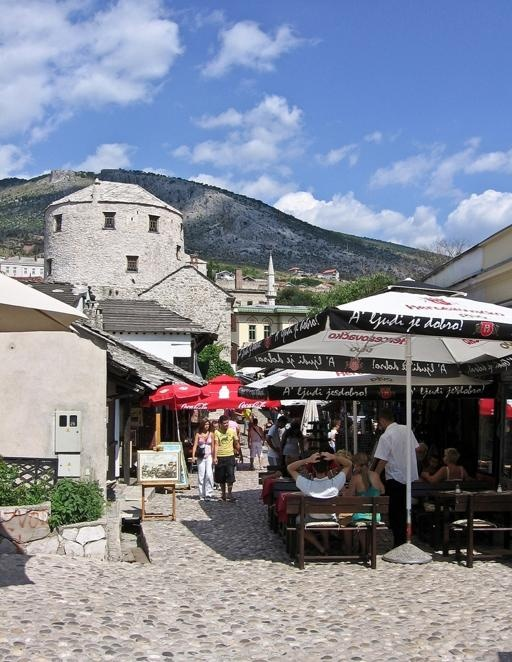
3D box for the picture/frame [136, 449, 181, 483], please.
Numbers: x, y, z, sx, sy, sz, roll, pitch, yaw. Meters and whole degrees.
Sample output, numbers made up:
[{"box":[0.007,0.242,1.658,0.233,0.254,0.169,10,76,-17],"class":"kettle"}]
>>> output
[{"box":[-1.647,2.317,12.776,0.738,0.511,0.057,1,-14,-8],"class":"picture/frame"}]
